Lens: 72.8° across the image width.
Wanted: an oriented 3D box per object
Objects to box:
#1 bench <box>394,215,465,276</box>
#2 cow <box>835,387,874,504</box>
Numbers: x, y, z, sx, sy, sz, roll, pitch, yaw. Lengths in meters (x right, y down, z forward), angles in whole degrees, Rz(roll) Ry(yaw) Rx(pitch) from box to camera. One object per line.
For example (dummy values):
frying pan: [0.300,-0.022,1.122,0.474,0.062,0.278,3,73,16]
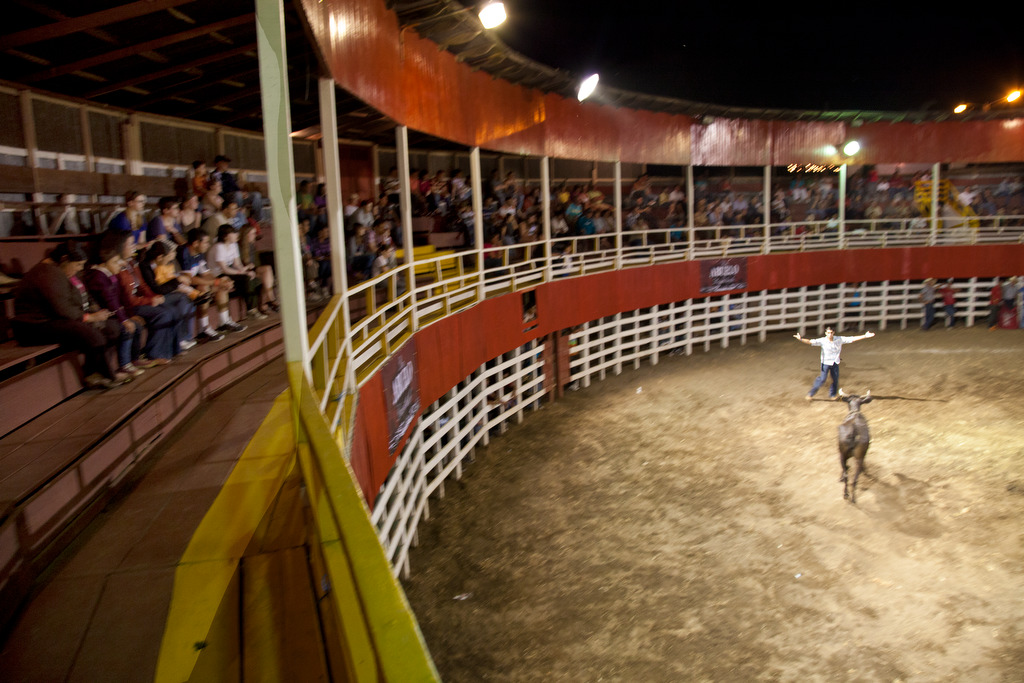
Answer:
bench: [-2.037,-2.429,17.851,1.305,1.525,3.383,-2,13,2]
cow: [7.098,2.239,14.455,0.616,2.063,1.445,4,-34,19]
